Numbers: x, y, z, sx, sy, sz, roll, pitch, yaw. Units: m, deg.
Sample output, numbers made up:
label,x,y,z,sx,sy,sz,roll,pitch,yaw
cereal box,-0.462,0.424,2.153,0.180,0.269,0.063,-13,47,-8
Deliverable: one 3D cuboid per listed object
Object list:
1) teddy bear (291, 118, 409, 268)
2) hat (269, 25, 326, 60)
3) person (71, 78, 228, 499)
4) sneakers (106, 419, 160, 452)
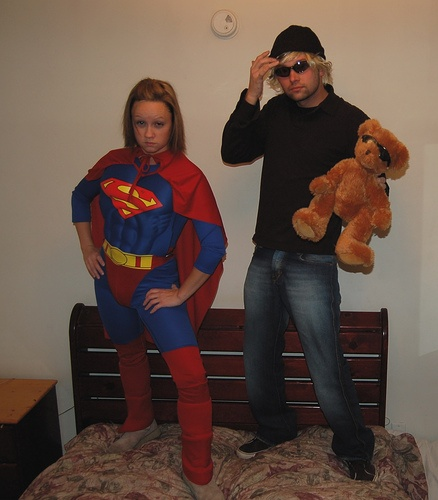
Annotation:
label,x,y,z,sx,sy,sz,roll,pitch,yaw
teddy bear,0.420,-0.199,1.713,0.334,0.418,0.304,25,52,27
hat,0.269,-0.728,1.834,0.133,0.086,0.161,2,7,9
person,-0.250,0.133,2.087,0.640,1.557,0.285,1,8,41
sneakers,-0.369,0.805,2.290,0.073,0.066,0.204,-2,4,43
